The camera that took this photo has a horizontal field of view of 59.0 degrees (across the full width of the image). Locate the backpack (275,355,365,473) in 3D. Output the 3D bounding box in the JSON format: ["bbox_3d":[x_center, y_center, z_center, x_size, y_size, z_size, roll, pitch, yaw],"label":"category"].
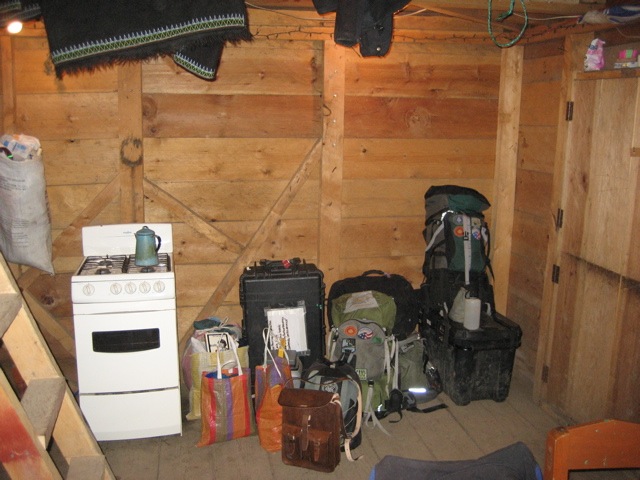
[{"bbox_3d":[0.010,1.219,3.939,0.548,0.624,0.433,0,9,6],"label":"backpack"}]

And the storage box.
[{"bbox_3d":[1.184,0.883,4.624,0.856,0.660,0.640,-5,13,-16],"label":"storage box"}]

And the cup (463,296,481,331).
[{"bbox_3d":[1.181,0.562,4.381,0.134,0.233,0.236,2,9,15],"label":"cup"}]

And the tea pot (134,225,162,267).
[{"bbox_3d":[-1.223,0.051,3.986,0.273,0.341,0.215,1,4,-17],"label":"tea pot"}]

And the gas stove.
[{"bbox_3d":[-1.375,0.265,4.016,0.654,0.232,0.583,-3,9,-14],"label":"gas stove"}]

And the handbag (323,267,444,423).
[{"bbox_3d":[0.498,0.737,4.655,1.091,1.190,0.967,-5,2,0],"label":"handbag"}]
